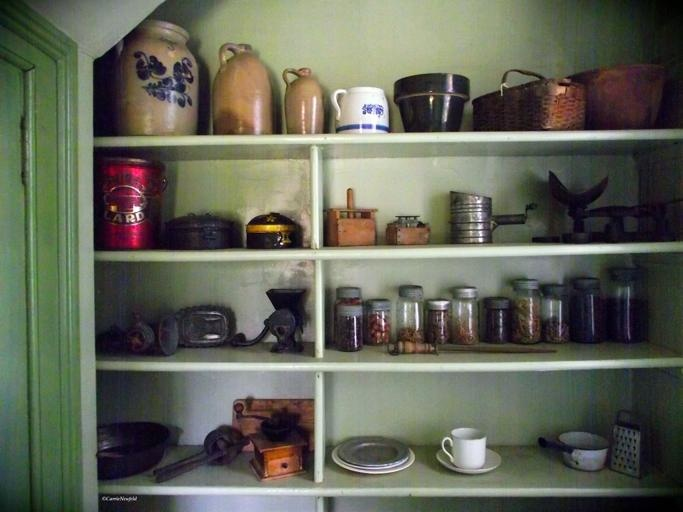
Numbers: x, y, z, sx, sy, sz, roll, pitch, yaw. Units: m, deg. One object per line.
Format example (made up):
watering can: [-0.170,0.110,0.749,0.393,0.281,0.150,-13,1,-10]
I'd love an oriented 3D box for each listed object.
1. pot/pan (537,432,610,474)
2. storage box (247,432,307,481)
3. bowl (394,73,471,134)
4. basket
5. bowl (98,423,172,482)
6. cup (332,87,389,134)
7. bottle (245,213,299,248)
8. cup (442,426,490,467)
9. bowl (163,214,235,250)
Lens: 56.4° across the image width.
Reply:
pot/pan: [0.662,0.538,1.788,0.084,0.097,0.208,-2,-2,-36]
storage box: [-0.181,0.572,1.855,0.117,0.076,0.120,2,-5,-22]
bowl: [0.260,-0.448,1.838,0.182,0.121,0.185,0,-5,0]
basket: [0.543,-0.428,1.813,0.146,0.145,0.251,-3,6,-34]
bowl: [-0.595,0.548,1.847,0.238,0.099,0.218,5,-7,1]
cup: [0.050,-0.422,1.872,0.161,0.117,0.121,-1,2,-6]
bottle: [-0.198,-0.072,1.814,0.108,0.073,0.109,0,-3,0]
cup: [0.371,0.558,1.900,0.121,0.092,0.092,-2,2,-11]
bowl: [-0.394,-0.064,1.772,0.124,0.073,0.128,0,2,0]
